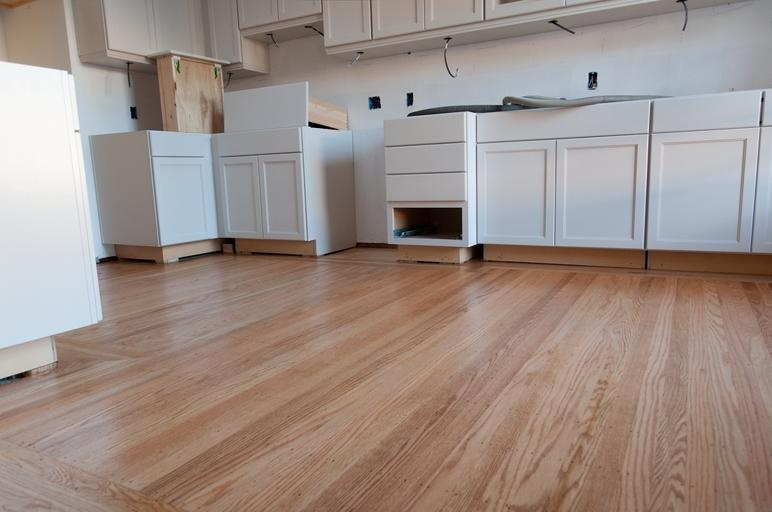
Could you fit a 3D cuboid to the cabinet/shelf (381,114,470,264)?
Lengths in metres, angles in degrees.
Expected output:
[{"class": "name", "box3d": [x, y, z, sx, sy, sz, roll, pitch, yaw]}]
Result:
[{"class": "cabinet/shelf", "box3d": [0.377, -0.466, 3.481, 0.597, 0.955, 0.605, 3, 13, 24]}]

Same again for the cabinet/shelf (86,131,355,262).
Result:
[{"class": "cabinet/shelf", "box3d": [-1.175, -0.475, 3.790, 1.703, 0.828, 1.124, 0, 9, 8]}]
